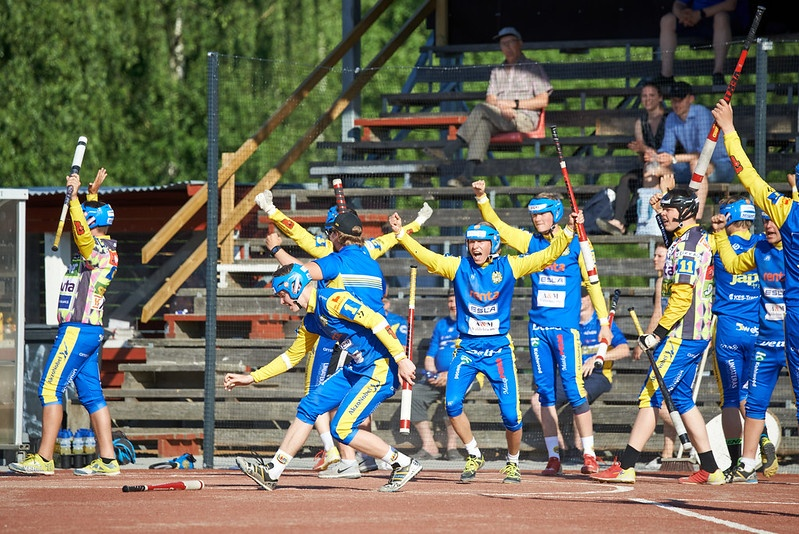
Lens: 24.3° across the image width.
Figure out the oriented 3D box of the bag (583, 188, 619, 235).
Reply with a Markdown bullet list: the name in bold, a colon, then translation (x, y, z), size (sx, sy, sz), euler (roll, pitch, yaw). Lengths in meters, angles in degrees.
- **bag**: translation (3.606, -0.983, 32.987), size (0.525, 0.821, 0.307), euler (14, -11, 35)

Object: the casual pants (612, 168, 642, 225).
- **casual pants**: translation (4.010, -1.212, 32.857), size (0.262, 0.778, 0.843), euler (13, 10, 31)

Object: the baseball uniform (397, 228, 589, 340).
- **baseball uniform**: translation (1.241, 0.246, 29.139), size (3.027, 1.826, 0.641), euler (0, 12, -17)

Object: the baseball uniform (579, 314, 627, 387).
- **baseball uniform**: translation (3.210, 1.433, 30.640), size (0.417, 1.002, 1.031), euler (22, 1, -4)

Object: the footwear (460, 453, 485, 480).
- **footwear**: translation (1.129, 3.084, 29.056), size (0.212, 0.253, 0.560), euler (3, 39, 38)

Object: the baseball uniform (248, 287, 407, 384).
- **baseball uniform**: translation (-0.929, 1.064, 28.704), size (2.941, 1.689, 1.232), euler (-5, 4, 31)

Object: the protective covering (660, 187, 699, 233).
- **protective covering**: translation (4.336, -0.874, 28.764), size (0.692, 0.624, 0.528), euler (1, 0, 6)

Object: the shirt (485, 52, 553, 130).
- **shirt**: translation (2.153, -3.287, 34.512), size (1.358, 1.225, 0.660), euler (-1, 1, 21)

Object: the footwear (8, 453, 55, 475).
- **footwear**: translation (-5.868, 3.143, 29.625), size (0.750, 0.329, 0.295), euler (6, -6, -10)

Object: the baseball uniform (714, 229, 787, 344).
- **baseball uniform**: translation (5.516, 0.279, 28.973), size (0.356, 1.734, 1.556), euler (-27, 28, -33)

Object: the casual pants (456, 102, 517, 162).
- **casual pants**: translation (1.564, -2.441, 34.118), size (1.035, 1.054, 0.244), euler (0, 0, 3)

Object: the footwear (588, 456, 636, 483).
- **footwear**: translation (3.333, 3.193, 28.847), size (0.766, 0.375, 0.267), euler (0, -15, 15)

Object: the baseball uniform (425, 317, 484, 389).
- **baseball uniform**: translation (0.899, 1.421, 30.025), size (1.234, 1.174, 0.680), euler (-2, -9, 31)

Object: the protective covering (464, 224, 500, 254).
- **protective covering**: translation (1.290, -0.454, 29.087), size (0.522, 0.465, 0.411), euler (10, -17, -35)

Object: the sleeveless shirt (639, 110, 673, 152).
- **sleeveless shirt**: translation (4.590, -2.377, 33.127), size (0.748, 0.871, 0.497), euler (-1, -6, 14)

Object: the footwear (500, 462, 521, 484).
- **footwear**: translation (1.742, 3.194, 29.012), size (0.281, 0.316, 0.335), euler (0, 0, 3)

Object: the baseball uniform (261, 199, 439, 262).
- **baseball uniform**: translation (-0.906, -0.615, 30.028), size (3.088, 0.989, 0.408), euler (4, 7, 16)

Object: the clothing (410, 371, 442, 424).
- **clothing**: translation (0.311, 2.217, 31.316), size (0.295, 0.770, 0.662), euler (8, -2, -21)

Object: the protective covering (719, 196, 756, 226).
- **protective covering**: translation (5.406, -0.867, 29.351), size (0.507, 0.448, 0.386), euler (17, 9, 33)
